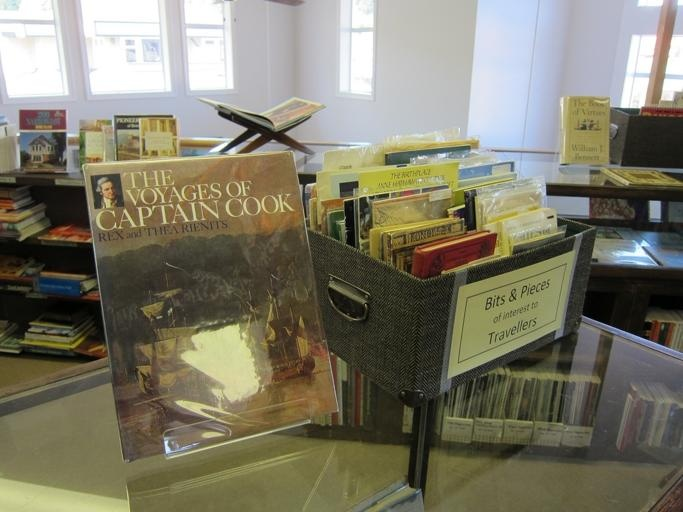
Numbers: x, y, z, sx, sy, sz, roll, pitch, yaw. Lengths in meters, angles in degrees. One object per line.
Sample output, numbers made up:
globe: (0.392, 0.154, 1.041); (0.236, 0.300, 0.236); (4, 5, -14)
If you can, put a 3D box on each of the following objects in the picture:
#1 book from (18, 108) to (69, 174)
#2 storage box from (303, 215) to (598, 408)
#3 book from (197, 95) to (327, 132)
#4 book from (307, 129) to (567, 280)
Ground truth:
book: (-1.622, -0.623, 2.912); (0.253, 0.324, 0.078); (-2, 17, -3)
storage box: (0.230, 0.076, 1.201); (0.550, 0.229, 0.393); (-13, 19, -36)
book: (-0.283, -0.559, 2.118); (0.430, 0.127, 0.300); (-13, 20, -33)
book: (0.171, -0.103, 1.085); (0.410, 0.168, 0.382); (-18, 33, -31)
